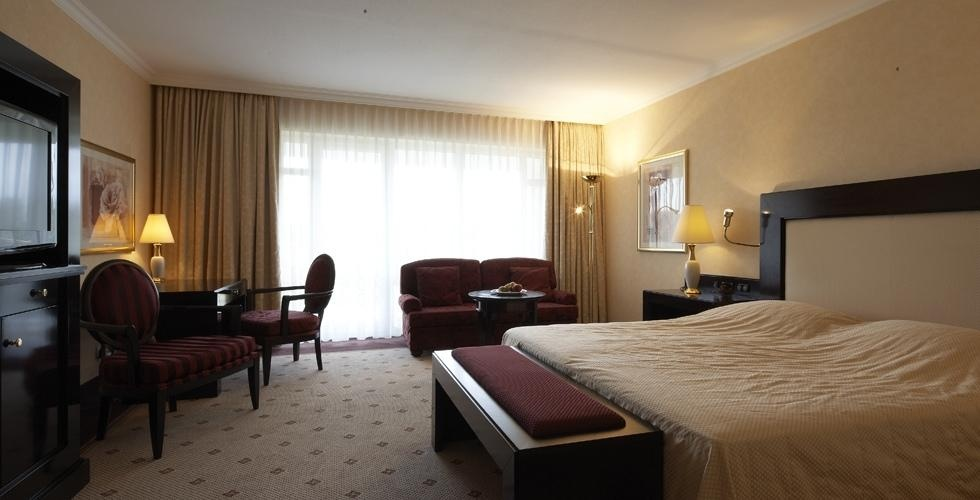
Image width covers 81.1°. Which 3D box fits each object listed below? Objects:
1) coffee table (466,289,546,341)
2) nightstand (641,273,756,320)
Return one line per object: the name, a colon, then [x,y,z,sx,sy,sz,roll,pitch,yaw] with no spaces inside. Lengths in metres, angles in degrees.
coffee table: [0.220,0.747,7.164,0.828,0.531,0.776,0,4,-11]
nightstand: [2.464,0.546,6.750,0.672,0.690,0.928,1,-2,-10]
